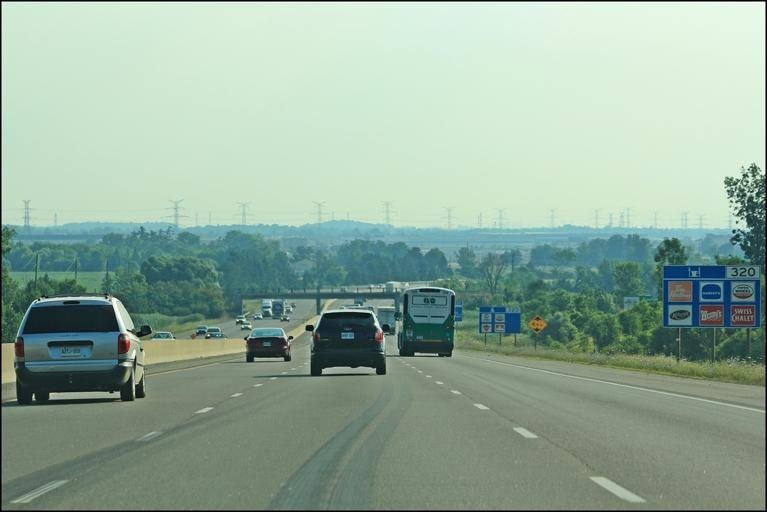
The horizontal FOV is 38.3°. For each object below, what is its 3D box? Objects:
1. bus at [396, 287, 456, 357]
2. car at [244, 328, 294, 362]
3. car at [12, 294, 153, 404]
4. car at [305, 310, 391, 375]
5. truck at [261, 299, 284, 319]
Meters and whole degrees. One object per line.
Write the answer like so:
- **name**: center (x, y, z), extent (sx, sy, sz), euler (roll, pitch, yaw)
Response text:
- **bus**: center (2.398, 3.463, 61.619), extent (2.159, 2.347, 4.127), euler (1, 3, -1)
- **car**: center (-5.602, 4.433, 54.266), extent (1.990, 1.631, 3.823), euler (0, -2, -3)
- **car**: center (-7.633, 2.247, 29.210), extent (2.025, 1.631, 3.453), euler (0, 2, 0)
- **car**: center (-1.182, 2.767, 36.827), extent (2.295, 1.882, 0.898), euler (0, -1, -13)
- **truck**: center (-18.072, 8.870, 181.588), extent (2.337, 2.858, 5.448), euler (0, -6, 3)
